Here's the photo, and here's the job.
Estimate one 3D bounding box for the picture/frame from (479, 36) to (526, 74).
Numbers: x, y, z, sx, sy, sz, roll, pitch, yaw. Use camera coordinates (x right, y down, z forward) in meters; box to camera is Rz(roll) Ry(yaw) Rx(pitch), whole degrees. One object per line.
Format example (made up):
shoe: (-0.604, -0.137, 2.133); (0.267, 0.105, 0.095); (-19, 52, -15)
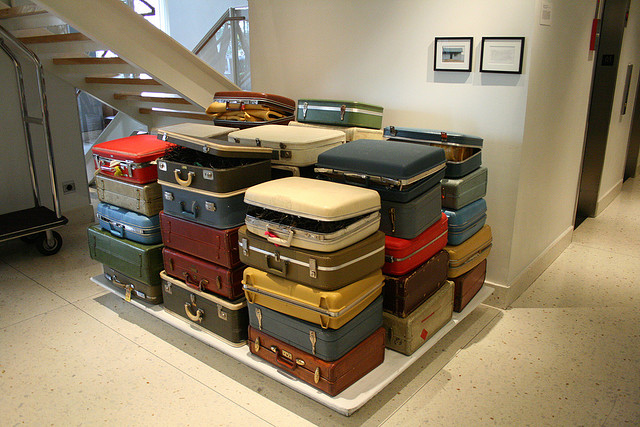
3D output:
picture/frame: (1.442, -1.253, 3.852); (0.304, 0.251, 0.022); (12, 23, 29)

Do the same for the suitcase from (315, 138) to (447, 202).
suitcase: (0.441, -0.393, 3.350); (0.562, 0.201, 0.568); (12, 24, 38)

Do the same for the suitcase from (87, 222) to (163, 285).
suitcase: (-1.591, 0.337, 4.059); (0.604, 0.260, 0.476); (12, 17, 32)

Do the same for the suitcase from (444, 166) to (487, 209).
suitcase: (1.119, -0.177, 3.772); (0.313, 0.200, 0.447); (13, 21, 38)

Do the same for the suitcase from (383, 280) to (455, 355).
suitcase: (0.719, 0.786, 3.508); (0.436, 0.281, 0.630); (11, 23, 40)

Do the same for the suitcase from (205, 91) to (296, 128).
suitcase: (-0.616, -0.921, 4.291); (0.523, 0.229, 0.416); (7, 18, 21)

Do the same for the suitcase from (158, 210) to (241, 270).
suitcase: (-0.883, 0.199, 3.562); (0.545, 0.218, 0.414); (13, 21, 31)

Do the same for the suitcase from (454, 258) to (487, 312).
suitcase: (1.187, 0.563, 3.923); (0.236, 0.201, 0.418); (18, 36, 42)

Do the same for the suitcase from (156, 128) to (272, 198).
suitcase: (-0.789, -0.411, 3.659); (0.761, 0.341, 0.581); (16, 23, 38)

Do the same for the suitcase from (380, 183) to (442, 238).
suitcase: (0.625, 0.003, 3.401); (0.351, 0.217, 0.494); (10, 22, 39)

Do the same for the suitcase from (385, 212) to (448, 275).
suitcase: (0.685, 0.211, 3.465); (0.475, 0.147, 0.348); (-22, 23, -37)

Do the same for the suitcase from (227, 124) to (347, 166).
suitcase: (-0.140, -0.536, 3.675); (0.501, 0.133, 0.470); (13, 21, 38)

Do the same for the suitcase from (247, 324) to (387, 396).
suitcase: (0.095, 0.865, 3.244); (0.537, 0.155, 0.541); (11, 15, 42)

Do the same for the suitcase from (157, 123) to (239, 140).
suitcase: (-0.909, -0.632, 3.730); (0.311, 0.068, 0.305); (10, 17, 23)

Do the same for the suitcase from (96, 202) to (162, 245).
suitcase: (-1.529, 0.094, 3.955); (0.403, 0.131, 0.404); (13, 14, 37)

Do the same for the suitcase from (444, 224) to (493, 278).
suitcase: (1.193, 0.307, 3.907); (0.405, 0.143, 0.401); (-27, 16, -18)

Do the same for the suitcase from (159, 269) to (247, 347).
suitcase: (-0.859, 0.714, 3.652); (0.623, 0.212, 0.494); (13, 20, 33)

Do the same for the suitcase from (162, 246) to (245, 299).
suitcase: (-0.886, 0.448, 3.621); (0.483, 0.150, 0.390); (14, 20, 33)

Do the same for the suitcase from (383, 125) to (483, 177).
suitcase: (0.971, -0.547, 3.899); (0.598, 0.286, 0.457); (12, 21, 37)

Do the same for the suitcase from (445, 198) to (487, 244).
suitcase: (1.144, 0.068, 3.821); (0.333, 0.195, 0.434); (-8, 8, 37)

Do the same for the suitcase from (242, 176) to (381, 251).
suitcase: (-0.064, -0.014, 3.279); (0.770, 0.358, 0.671); (14, 24, 36)

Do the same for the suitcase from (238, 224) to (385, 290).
suitcase: (-0.006, 0.269, 3.523); (0.785, 0.286, 1.029); (13, 13, 33)
